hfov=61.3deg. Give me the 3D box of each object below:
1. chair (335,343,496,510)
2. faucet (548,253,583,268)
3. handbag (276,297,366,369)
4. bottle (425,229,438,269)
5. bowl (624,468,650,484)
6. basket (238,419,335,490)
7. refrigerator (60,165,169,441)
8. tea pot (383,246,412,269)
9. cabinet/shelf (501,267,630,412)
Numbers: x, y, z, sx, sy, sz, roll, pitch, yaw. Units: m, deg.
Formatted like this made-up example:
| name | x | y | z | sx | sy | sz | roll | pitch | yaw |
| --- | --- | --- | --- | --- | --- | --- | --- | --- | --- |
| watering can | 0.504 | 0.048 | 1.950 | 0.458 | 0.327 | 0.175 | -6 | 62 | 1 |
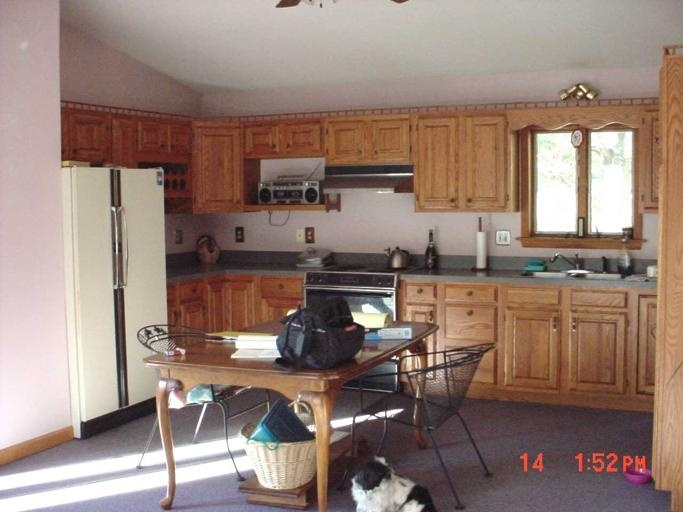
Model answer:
| name | x | y | z | sx | sy | sz | roll | pitch | yaw |
| --- | --- | --- | --- | --- | --- | --- | --- | --- | --- |
| chair | 0.508 | 0.990 | 4.110 | 1.200 | 1.131 | 0.949 | 3 | 2 | 31 |
| faucet | 2.077 | 0.046 | 5.289 | 0.296 | 0.135 | 0.127 | 1 | 8 | 19 |
| handbag | -0.155 | 0.400 | 3.053 | 0.419 | 0.248 | 0.404 | -7 | 2 | 25 |
| bottle | 0.892 | -0.073 | 5.618 | 0.132 | 0.362 | 0.229 | -1 | 8 | 8 |
| bowl | 1.879 | 1.380 | 3.626 | 0.147 | 0.060 | 0.110 | 2 | 8 | 20 |
| basket | -0.361 | 1.182 | 3.344 | 0.416 | 0.210 | 0.427 | 1 | 4 | 21 |
| refrigerator | -1.854 | 0.319 | 4.664 | 0.305 | 2.051 | 0.892 | 3 | 10 | 31 |
| tea pot | 0.546 | 0.026 | 5.604 | 0.294 | 0.167 | 0.159 | 0 | -3 | -4 |
| cabinet/shelf | 1.898 | 0.730 | 4.830 | 1.322 | 1.056 | 0.593 | 1 | 0 | 23 |
